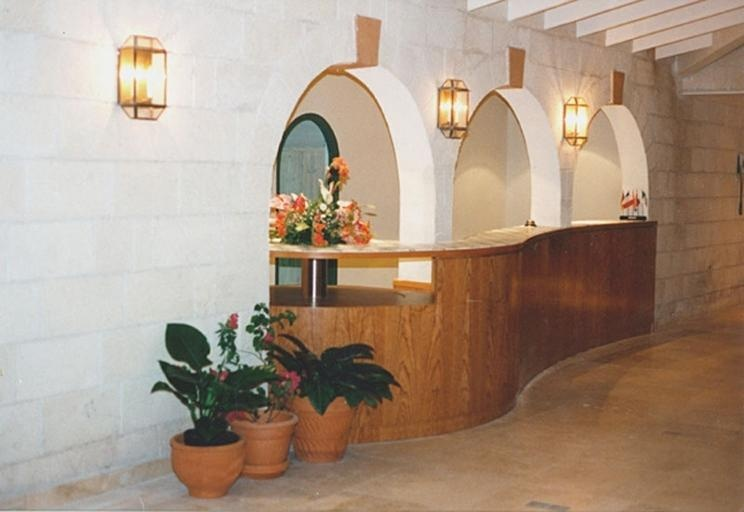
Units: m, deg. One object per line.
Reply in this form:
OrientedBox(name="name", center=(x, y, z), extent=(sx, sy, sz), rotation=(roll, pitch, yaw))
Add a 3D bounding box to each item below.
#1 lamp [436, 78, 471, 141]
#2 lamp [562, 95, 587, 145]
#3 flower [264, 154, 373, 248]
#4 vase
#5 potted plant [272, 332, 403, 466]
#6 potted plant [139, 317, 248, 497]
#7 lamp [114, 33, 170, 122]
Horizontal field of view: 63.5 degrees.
OrientedBox(name="lamp", center=(0.856, -1.505, 6.128), extent=(0.189, 0.607, 0.449), rotation=(6, 7, 44))
OrientedBox(name="lamp", center=(2.599, -1.714, 7.609), extent=(0.477, 0.645, 0.181), rotation=(-3, 6, -43))
OrientedBox(name="flower", center=(-0.418, -0.313, 5.134), extent=(0.630, 0.890, 0.650), rotation=(10, 28, 8))
OrientedBox(name="vase", center=(-0.766, 1.338, 4.275), extent=(0.489, 0.410, 0.509), rotation=(2, 0, -11))
OrientedBox(name="potted plant", center=(-0.240, 1.030, 4.303), extent=(0.883, 0.696, 0.935), rotation=(3, -1, 7))
OrientedBox(name="potted plant", center=(-1.178, 1.003, 3.906), extent=(0.468, 1.080, 0.606), rotation=(-3, 7, -44))
OrientedBox(name="lamp", center=(-1.500, -1.157, 3.877), extent=(0.298, 0.515, 0.127), rotation=(-1, 5, -25))
